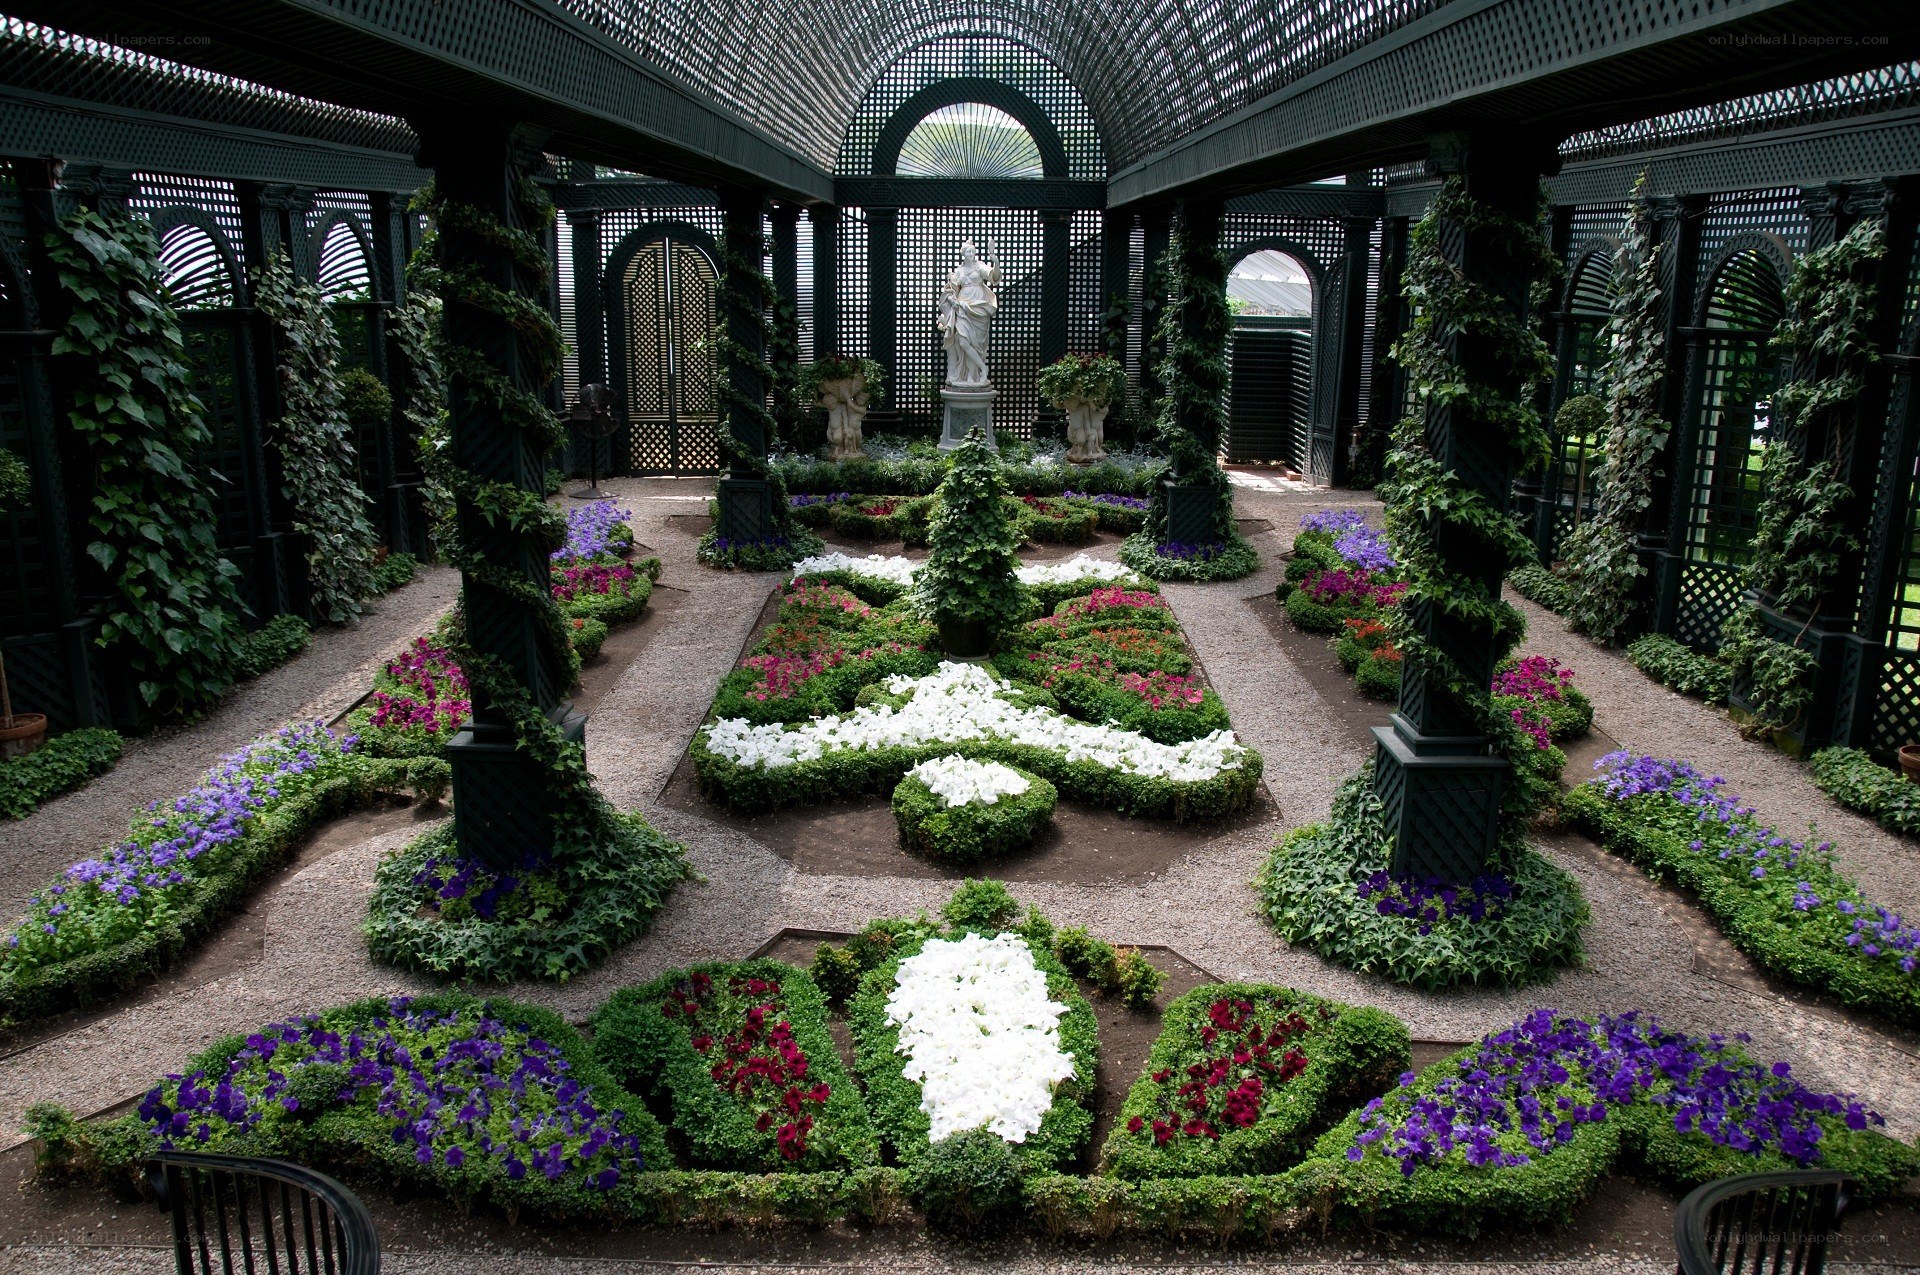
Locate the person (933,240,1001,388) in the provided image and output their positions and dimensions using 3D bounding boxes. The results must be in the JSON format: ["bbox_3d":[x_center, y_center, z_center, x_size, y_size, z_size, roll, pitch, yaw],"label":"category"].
[{"bbox_3d":[0.134,-5.608,24.051,0.910,2.427,0.634,1,16,3],"label":"person"}]
